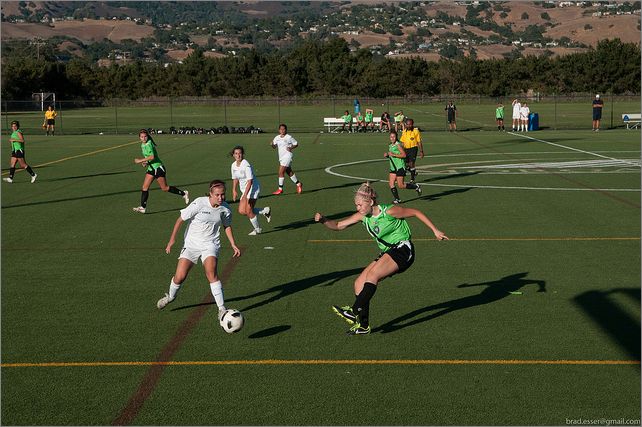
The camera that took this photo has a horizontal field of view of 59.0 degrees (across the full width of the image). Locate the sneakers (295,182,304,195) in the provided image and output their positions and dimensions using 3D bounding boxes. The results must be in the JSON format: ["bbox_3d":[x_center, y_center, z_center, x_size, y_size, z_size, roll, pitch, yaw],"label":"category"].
[{"bbox_3d":[-0.790,-0.872,19.919,0.182,0.383,0.146,-3,-4,-10],"label":"sneakers"}]

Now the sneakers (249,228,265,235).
[{"bbox_3d":[-1.719,0.493,14.909,0.383,0.231,0.128,2,23,15],"label":"sneakers"}]

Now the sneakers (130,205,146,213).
[{"bbox_3d":[-5.592,-0.098,17.291,0.529,0.244,0.175,20,13,24],"label":"sneakers"}]

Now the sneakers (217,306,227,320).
[{"bbox_3d":[-1.692,1.697,9.565,0.216,0.178,0.163,-6,-8,-5],"label":"sneakers"}]

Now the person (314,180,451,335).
[{"bbox_3d":[0.846,0.754,9.560,1.446,2.519,0.780,-11,18,-31],"label":"person"}]

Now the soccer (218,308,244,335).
[{"bbox_3d":[-1.526,1.844,9.467,0.433,0.466,0.269,0,15,9],"label":"soccer"}]

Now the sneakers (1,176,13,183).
[{"bbox_3d":[-12.748,-1.319,22.989,0.524,0.211,0.165,14,54,6],"label":"sneakers"}]

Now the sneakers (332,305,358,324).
[{"bbox_3d":[0.387,1.723,9.607,0.468,0.174,0.225,30,71,17],"label":"sneakers"}]

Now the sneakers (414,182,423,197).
[{"bbox_3d":[3.250,-0.734,18.933,0.217,0.485,0.162,-23,32,-4],"label":"sneakers"}]

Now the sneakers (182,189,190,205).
[{"bbox_3d":[-4.466,-0.450,18.629,0.229,0.474,0.175,-5,42,-2],"label":"sneakers"}]

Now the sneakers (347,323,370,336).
[{"bbox_3d":[0.540,1.934,9.452,0.504,0.208,0.163,0,2,-2],"label":"sneakers"}]
